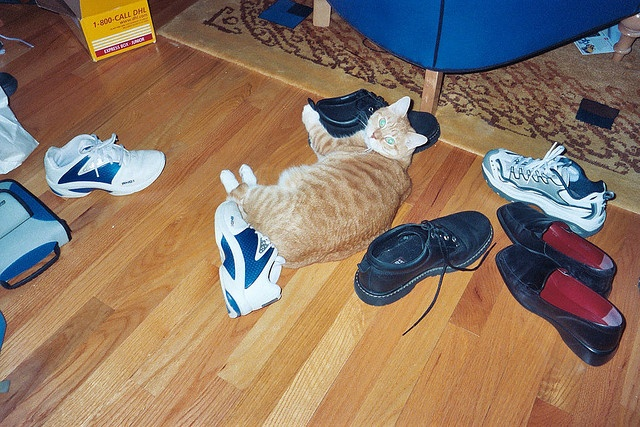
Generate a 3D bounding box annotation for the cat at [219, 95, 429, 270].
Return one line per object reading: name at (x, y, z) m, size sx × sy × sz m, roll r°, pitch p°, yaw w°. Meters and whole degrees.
cat at (0.006, -0.026, 2.233) m, size 0.680 × 0.420 × 0.852 m, roll 42°, pitch 72°, yaw 1°

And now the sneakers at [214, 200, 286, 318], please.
sneakers at (-0.283, 0.193, 1.985) m, size 0.249 × 0.178 × 0.519 m, roll -15°, pitch 74°, yaw 0°

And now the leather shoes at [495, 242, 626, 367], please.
leather shoes at (0.945, 0.348, 1.987) m, size 0.617 × 0.228 × 0.246 m, roll 39°, pitch 79°, yaw 19°

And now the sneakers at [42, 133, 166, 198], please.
sneakers at (-0.913, -0.222, 2.170) m, size 0.546 × 0.249 × 0.227 m, roll -3°, pitch 61°, yaw -15°
